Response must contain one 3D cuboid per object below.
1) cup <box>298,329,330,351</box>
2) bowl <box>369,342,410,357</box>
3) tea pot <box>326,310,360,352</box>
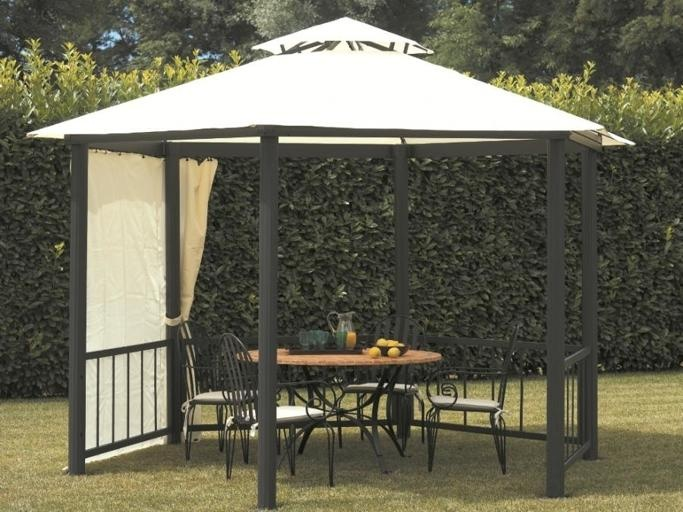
[{"bbox_3d":[-0.333,0.984,14.702,0.233,0.187,0.254,1,3,0],"label":"cup"},{"bbox_3d":[0.539,1.095,14.446,0.462,0.137,0.296,0,15,-2],"label":"bowl"},{"bbox_3d":[-0.013,0.931,15.420,0.452,0.673,0.320,1,5,14],"label":"tea pot"}]
